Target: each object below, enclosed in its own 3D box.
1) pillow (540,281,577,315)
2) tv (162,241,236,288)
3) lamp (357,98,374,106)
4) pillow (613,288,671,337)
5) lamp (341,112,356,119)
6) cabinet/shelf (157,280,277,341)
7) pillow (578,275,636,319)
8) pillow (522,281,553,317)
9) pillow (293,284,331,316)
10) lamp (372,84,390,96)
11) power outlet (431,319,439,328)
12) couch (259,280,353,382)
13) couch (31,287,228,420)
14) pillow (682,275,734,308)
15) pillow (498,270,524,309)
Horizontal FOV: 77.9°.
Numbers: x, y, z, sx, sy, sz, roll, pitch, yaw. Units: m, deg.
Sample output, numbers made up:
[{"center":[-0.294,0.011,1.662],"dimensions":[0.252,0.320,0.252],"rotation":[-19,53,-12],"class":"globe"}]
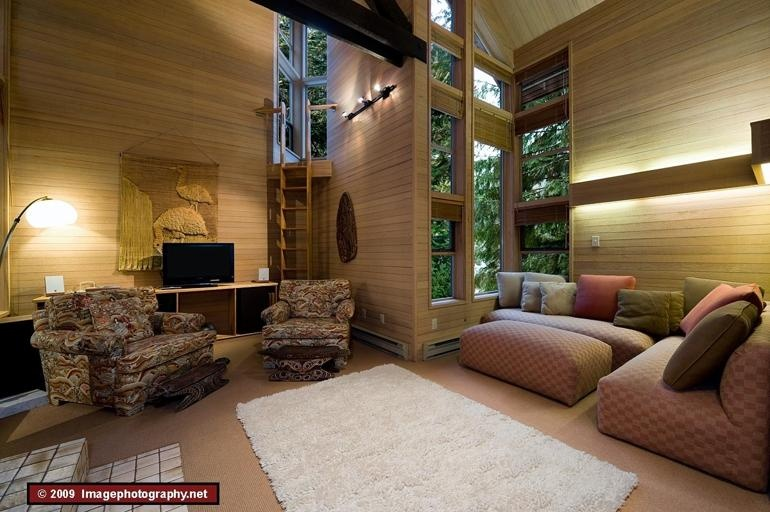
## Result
[{"center":[2.461,0.592,6.700],"dimensions":[0.411,0.369,0.141],"rotation":[7,-30,4],"class":"pillow"},{"center":[-2.813,0.091,7.246],"dimensions":[1.013,0.642,0.090],"rotation":[-1,-9,-16],"class":"tv"},{"center":[-0.288,-2.326,7.199],"dimensions":[0.131,0.134,0.240],"rotation":[-22,24,-13],"class":"lamp"},{"center":[3.308,0.729,6.084],"dimensions":[0.527,0.468,0.279],"rotation":[6,-18,24],"class":"pillow"},{"center":[-0.555,-2.229,7.555],"dimensions":[0.129,0.084,0.221],"rotation":[-1,-1,1],"class":"lamp"},{"center":[-2.738,0.817,7.395],"dimensions":[1.864,0.777,0.479],"rotation":[-1,7,-29],"class":"cabinet/shelf"},{"center":[3.008,0.557,6.390],"dimensions":[0.599,0.506,0.317],"rotation":[0,-1,39],"class":"pillow"},{"center":[2.197,0.612,6.803],"dimensions":[0.477,0.437,0.167],"rotation":[1,-17,9],"class":"pillow"},{"center":[-1.121,0.734,7.225],"dimensions":[0.760,0.186,0.927],"rotation":[-3,-14,-14],"class":"pillow"},{"center":[-0.015,-2.421,6.969],"dimensions":[0.110,0.151,0.291],"rotation":[-2,8,-40],"class":"lamp"},{"center":[0.708,0.931,6.695],"dimensions":[0.127,0.103,0.015],"rotation":[14,-7,-44],"class":"power outlet"},{"center":[-1.026,0.920,6.400],"dimensions":[1.121,1.024,1.281],"rotation":[0,-6,-3],"class":"couch"},{"center":[-2.987,1.051,5.933],"dimensions":[2.100,1.205,1.549],"rotation":[2,6,18],"class":"couch"},{"center":[3.967,0.435,5.817],"dimensions":[0.150,0.406,0.395],"rotation":[26,-6,-15],"class":"pillow"},{"center":[1.904,0.508,7.144],"dimensions":[0.499,0.359,0.231],"rotation":[-8,18,-25],"class":"pillow"}]
